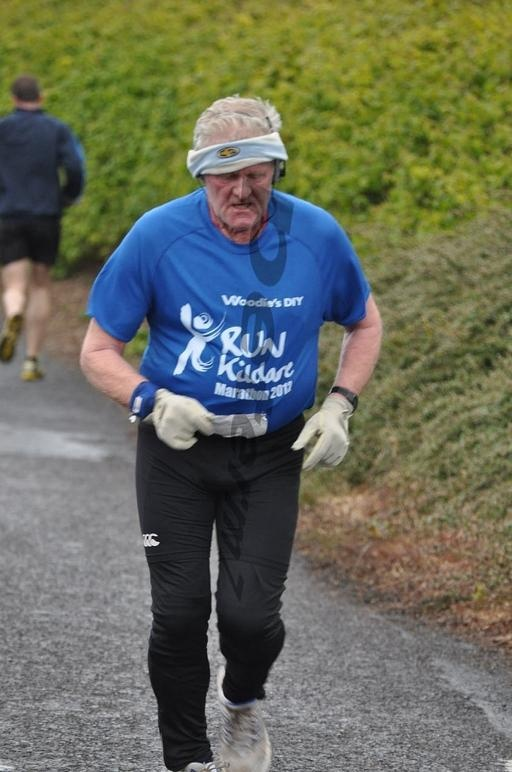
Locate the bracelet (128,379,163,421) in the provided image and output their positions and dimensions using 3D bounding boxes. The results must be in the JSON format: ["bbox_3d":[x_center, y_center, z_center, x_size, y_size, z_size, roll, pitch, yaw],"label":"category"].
[{"bbox_3d":[-0.277,0.038,2.322,0.080,0.060,0.087,-1,10,-7],"label":"bracelet"}]

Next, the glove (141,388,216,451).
[{"bbox_3d":[-0.189,0.094,2.310,0.169,0.150,0.117,4,11,-6],"label":"glove"}]
